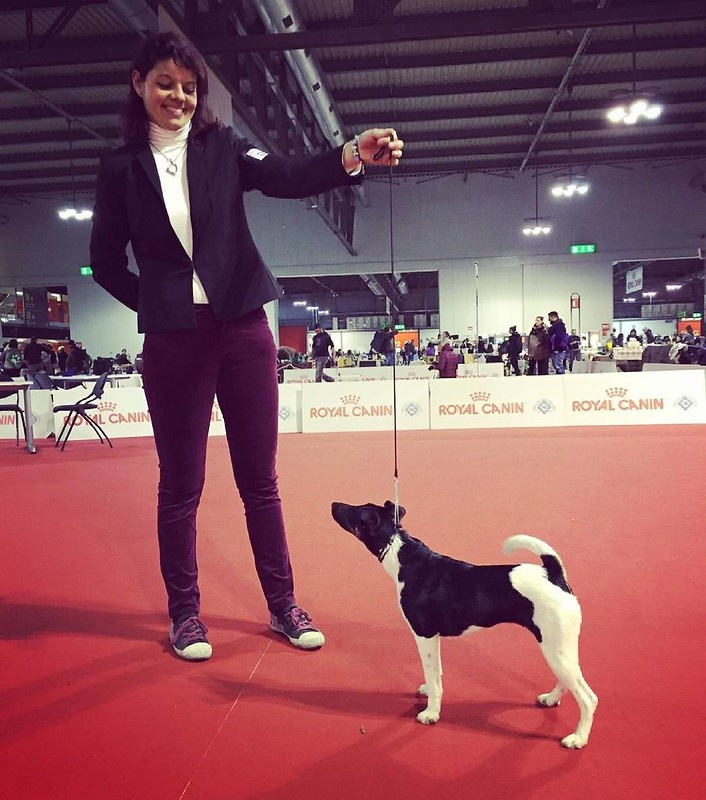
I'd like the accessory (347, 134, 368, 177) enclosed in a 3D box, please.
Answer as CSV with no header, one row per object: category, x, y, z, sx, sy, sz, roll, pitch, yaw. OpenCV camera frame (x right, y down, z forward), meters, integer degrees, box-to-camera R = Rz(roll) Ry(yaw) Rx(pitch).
accessory,0.006,-0.691,1.936,0.048,0.098,0.100,-2,5,1

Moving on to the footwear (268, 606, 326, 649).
footwear,-0.176,0.718,2.159,0.074,0.086,0.201,2,-6,-40

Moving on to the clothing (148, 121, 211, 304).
clothing,-0.520,-0.638,2.078,0.116,0.708,0.099,-11,8,-20
